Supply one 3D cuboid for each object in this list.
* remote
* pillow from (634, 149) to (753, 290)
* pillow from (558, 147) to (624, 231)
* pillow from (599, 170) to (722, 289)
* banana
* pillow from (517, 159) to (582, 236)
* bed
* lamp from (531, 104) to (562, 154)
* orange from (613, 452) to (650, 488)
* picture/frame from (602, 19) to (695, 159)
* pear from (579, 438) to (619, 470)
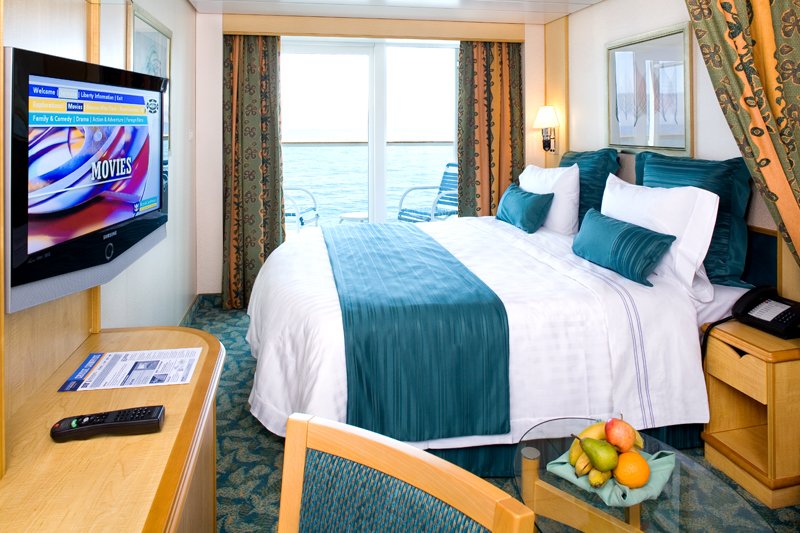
[{"bbox_3d":[-0.935,0.499,1.744,0.322,0.068,0.128,0,7,-15],"label":"remote"},{"bbox_3d":[1.947,-0.503,3.665,0.806,0.329,0.919,20,31,36],"label":"pillow"},{"bbox_3d":[1.602,-0.751,4.525,0.222,0.535,0.601,1,14,-4],"label":"pillow"},{"bbox_3d":[1.567,-0.192,3.173,0.210,0.497,0.598,15,10,-29],"label":"pillow"},{"bbox_3d":[0.786,0.675,1.990,0.255,0.230,0.099,-35,-3,-18],"label":"banana"},{"bbox_3d":[1.220,-0.527,4.318,0.228,0.562,0.653,-3,9,-16],"label":"pillow"},{"bbox_3d":[0.537,0.271,3.227,2.153,1.078,2.196,2,7,-3],"label":"bed"},{"bbox_3d":[1.504,-1.379,5.463,0.256,0.451,0.240,-2,14,11],"label":"lamp"},{"bbox_3d":[0.846,0.737,1.944,0.102,0.102,0.108,14,21,38],"label":"orange"},{"bbox_3d":[1.918,-1.288,4.138,0.904,0.789,0.048,-8,8,-27],"label":"picture/frame"},{"bbox_3d":[0.724,0.676,1.981,0.138,0.074,0.073,42,5,39],"label":"pear"}]
